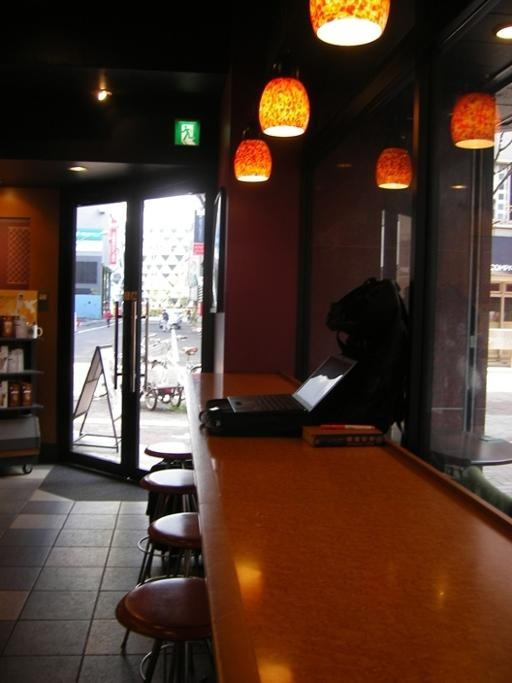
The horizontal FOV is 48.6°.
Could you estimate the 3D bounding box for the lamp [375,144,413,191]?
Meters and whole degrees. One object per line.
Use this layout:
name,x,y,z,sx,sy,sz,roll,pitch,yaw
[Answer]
lamp,0.490,-0.606,2.006,0.132,0.133,0.132,2,-7,31

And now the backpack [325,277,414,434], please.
backpack,0.348,0.057,1.588,0.269,0.506,0.232,-3,32,8

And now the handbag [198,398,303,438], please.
handbag,-0.019,0.203,1.616,0.280,0.091,0.355,4,2,-5

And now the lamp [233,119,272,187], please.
lamp,-0.009,-0.897,2.662,0.167,0.248,0.197,4,1,-2

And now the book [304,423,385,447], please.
book,0.221,0.234,1.405,0.193,0.050,0.101,4,2,-8

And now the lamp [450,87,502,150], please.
lamp,0.582,-0.596,1.521,0.105,0.118,0.103,-24,27,-27

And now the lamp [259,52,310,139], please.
lamp,0.101,-0.821,1.921,0.166,0.236,0.234,4,1,2
